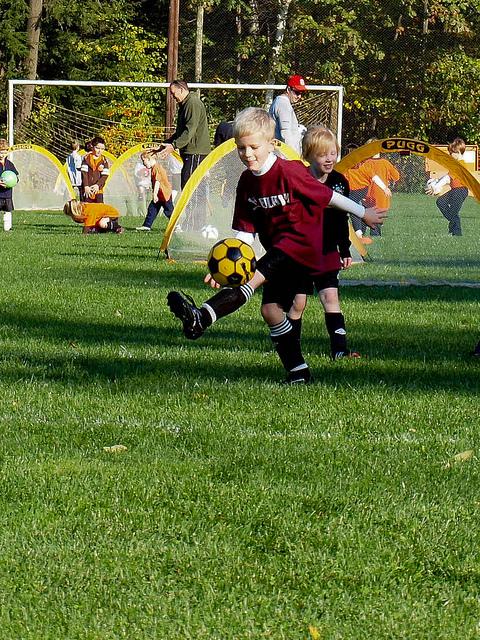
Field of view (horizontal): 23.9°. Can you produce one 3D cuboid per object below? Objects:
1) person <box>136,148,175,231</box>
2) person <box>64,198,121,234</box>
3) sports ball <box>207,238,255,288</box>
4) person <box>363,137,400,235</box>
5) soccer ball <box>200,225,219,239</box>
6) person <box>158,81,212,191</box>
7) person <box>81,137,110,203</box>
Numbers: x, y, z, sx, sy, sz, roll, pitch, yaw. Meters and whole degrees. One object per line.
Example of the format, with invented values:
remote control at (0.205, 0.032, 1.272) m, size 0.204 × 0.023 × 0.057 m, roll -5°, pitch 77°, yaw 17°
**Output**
person at (-1.160, -1.839, 16.082) m, size 0.595 × 1.131 × 0.451 m, roll -5°, pitch 10°, yaw -14°
person at (-1.970, -1.353, 15.353) m, size 0.794 × 0.472 × 0.620 m, roll 4°, pitch 32°, yaw -2°
sports ball at (-0.021, -0.247, 4.832) m, size 0.180 × 0.231 × 0.197 m, roll -1°, pitch 20°, yaw 1°
person at (1.198, -1.117, 9.797) m, size 0.321 × 0.832 × 0.321 m, roll -1°, pitch 7°, yaw 1°
soccer ball at (-0.310, -0.846, 11.042) m, size 0.130 × 0.141 × 0.136 m, roll 10°, pitch -19°, yaw 4°
person at (-0.605, -1.734, 11.930) m, size 0.558 × 1.494 × 0.478 m, roll 1°, pitch 8°, yaw 13°
person at (-2.152, -2.194, 16.738) m, size 0.383 × 0.932 × 0.884 m, roll -1°, pitch 8°, yaw -8°
